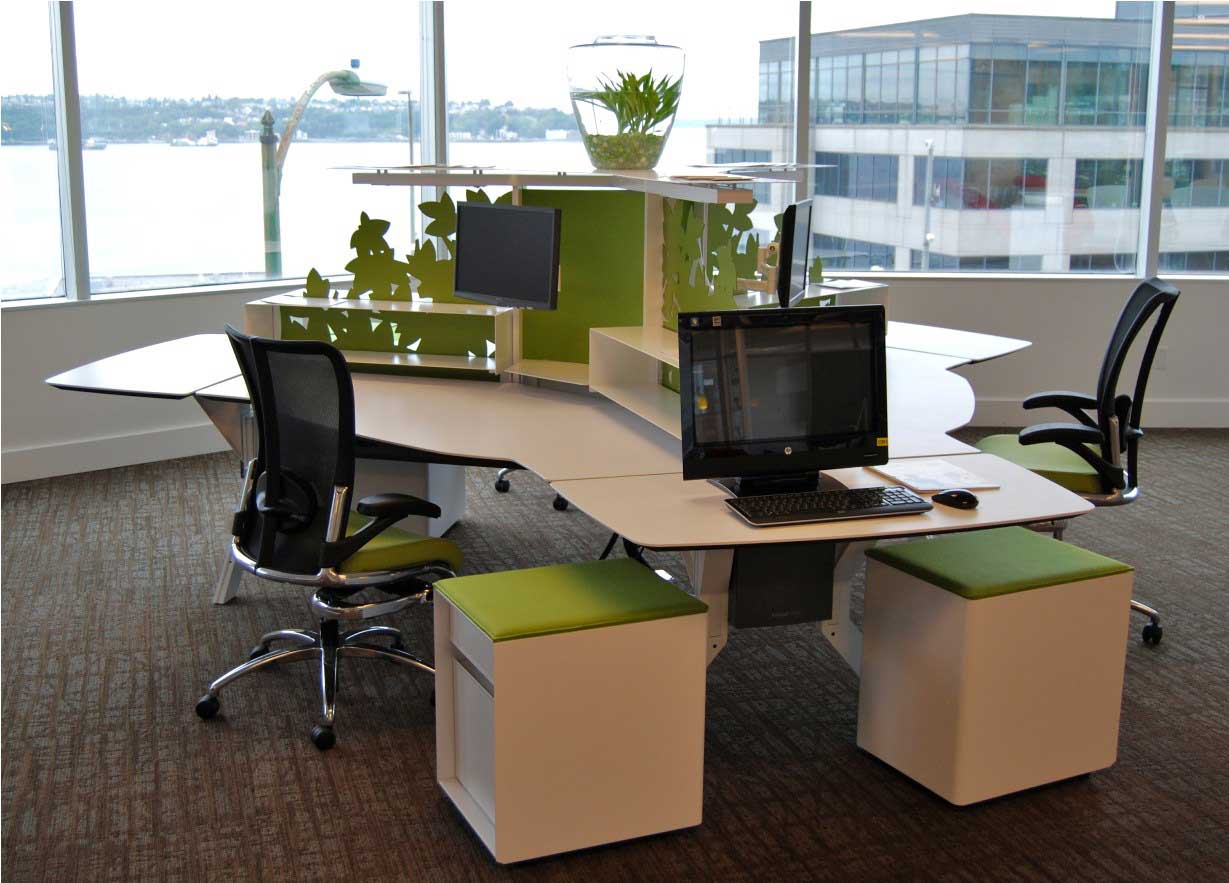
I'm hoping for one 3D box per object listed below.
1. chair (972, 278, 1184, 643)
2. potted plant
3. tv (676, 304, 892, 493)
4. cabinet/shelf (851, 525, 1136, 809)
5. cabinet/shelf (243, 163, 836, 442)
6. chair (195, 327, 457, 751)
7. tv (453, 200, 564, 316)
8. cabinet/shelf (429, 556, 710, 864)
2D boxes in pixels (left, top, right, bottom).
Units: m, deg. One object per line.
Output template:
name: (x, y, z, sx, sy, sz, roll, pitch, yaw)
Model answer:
chair: (2.029, 0.093, 4.407, 0.881, 1.434, 0.872, -2, 9, 3)
potted plant: (0.030, -1.470, 4.275, 0.498, 0.534, 0.498, 12, 20, 38)
tv: (0.532, -0.135, 3.063, 0.590, 0.489, 0.208, -2, -1, -10)
cabinet/shelf: (1.279, 0.723, 3.255, 0.802, 0.758, 0.483, -7, 19, -17)
cabinet/shelf: (-0.322, -0.640, 4.141, 2.325, 1.036, 0.767, 1, 9, 3)
chair: (-1.077, 0.292, 3.646, 0.849, 1.332, 0.809, -1, 8, -36)
tv: (-0.476, -0.805, 4.189, 0.639, 0.416, 0.135, 15, 24, 41)
cabinet/shelf: (-0.139, 0.761, 3.228, 0.837, 0.854, 0.836, -5, 13, -23)
